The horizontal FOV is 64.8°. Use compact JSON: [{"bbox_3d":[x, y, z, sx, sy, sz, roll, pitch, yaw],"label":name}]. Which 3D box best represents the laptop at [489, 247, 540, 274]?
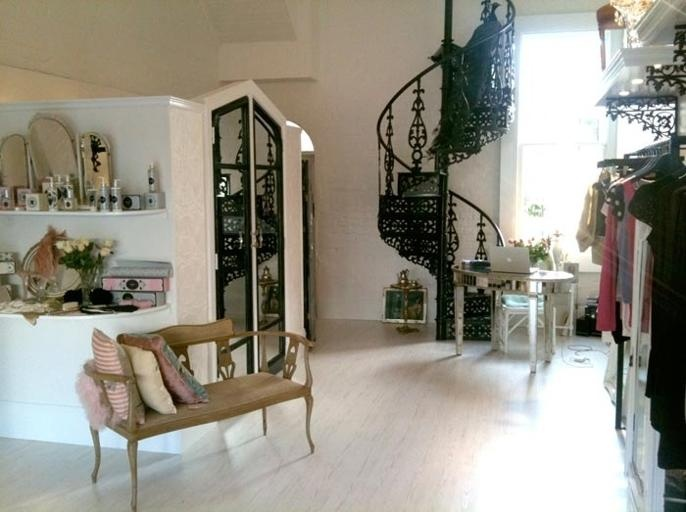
[{"bbox_3d":[1.885,0.032,6.078,0.437,0.301,0.126,5,12,23],"label":"laptop"}]

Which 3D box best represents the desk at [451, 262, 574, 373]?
[{"bbox_3d":[1.918,0.628,6.448,1.329,1.056,0.831,5,15,41],"label":"desk"}]

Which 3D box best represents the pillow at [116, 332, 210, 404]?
[{"bbox_3d":[-1.412,0.857,3.897,0.511,0.526,0.181,0,17,44],"label":"pillow"}]

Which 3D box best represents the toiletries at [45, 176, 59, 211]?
[{"bbox_3d":[-2.339,-0.506,4.357,0.095,0.253,0.223,-6,13,-28],"label":"toiletries"}]

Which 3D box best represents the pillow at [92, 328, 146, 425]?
[{"bbox_3d":[-1.566,0.839,3.742,0.461,0.618,0.176,7,14,33],"label":"pillow"}]

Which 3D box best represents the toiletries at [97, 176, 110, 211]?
[{"bbox_3d":[-1.890,-0.493,4.273,0.095,0.255,0.264,-6,12,-25],"label":"toiletries"}]

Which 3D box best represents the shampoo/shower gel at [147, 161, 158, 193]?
[{"bbox_3d":[-1.519,-0.636,4.325,0.078,0.235,0.136,-4,12,-20],"label":"shampoo/shower gel"}]

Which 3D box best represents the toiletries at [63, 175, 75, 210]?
[{"bbox_3d":[-2.194,-0.508,4.324,0.135,0.261,0.085,11,16,43],"label":"toiletries"}]

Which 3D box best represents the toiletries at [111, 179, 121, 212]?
[{"bbox_3d":[-1.782,-0.483,4.257,0.088,0.235,0.285,-5,12,-21],"label":"toiletries"}]

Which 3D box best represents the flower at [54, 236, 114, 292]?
[{"bbox_3d":[-2.059,0.007,4.466,0.472,0.501,0.407,-3,7,-20],"label":"flower"}]

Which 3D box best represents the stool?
[{"bbox_3d":[2.202,0.685,6.769,0.854,0.873,0.719,3,10,26],"label":"stool"}]

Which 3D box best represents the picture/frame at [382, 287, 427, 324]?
[{"bbox_3d":[0.941,0.733,7.952,0.514,0.454,0.035,0,-1,16],"label":"picture/frame"}]

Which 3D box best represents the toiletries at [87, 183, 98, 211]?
[{"bbox_3d":[-2.020,-0.480,4.354,0.082,0.197,0.310,-6,13,-27],"label":"toiletries"}]
